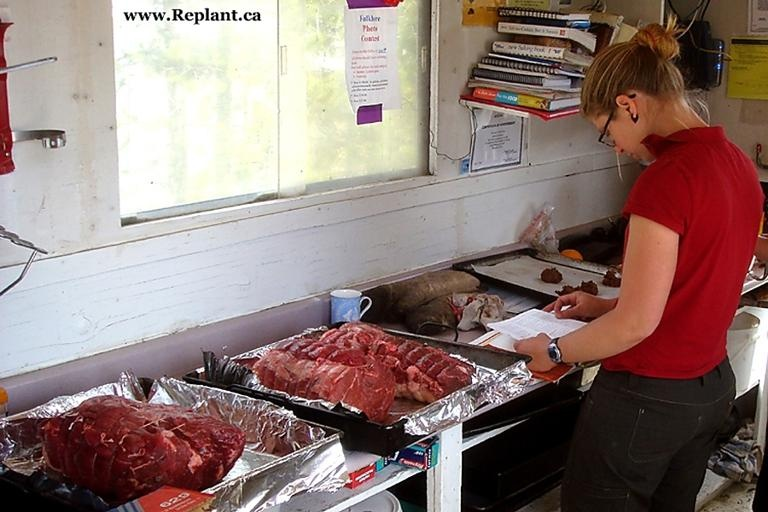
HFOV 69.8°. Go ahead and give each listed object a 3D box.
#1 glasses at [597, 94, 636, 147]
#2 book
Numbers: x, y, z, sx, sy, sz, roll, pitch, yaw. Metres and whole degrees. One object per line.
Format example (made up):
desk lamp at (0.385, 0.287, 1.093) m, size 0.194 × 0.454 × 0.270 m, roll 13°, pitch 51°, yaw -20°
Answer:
glasses at (0.695, -0.407, 1.645) m, size 0.037 × 0.133 × 0.132 m, roll -9°, pitch -1°, yaw 21°
book at (0.864, -0.825, 2.896) m, size 0.786 × 0.334 × 0.738 m, roll 9°, pitch 7°, yaw 36°
